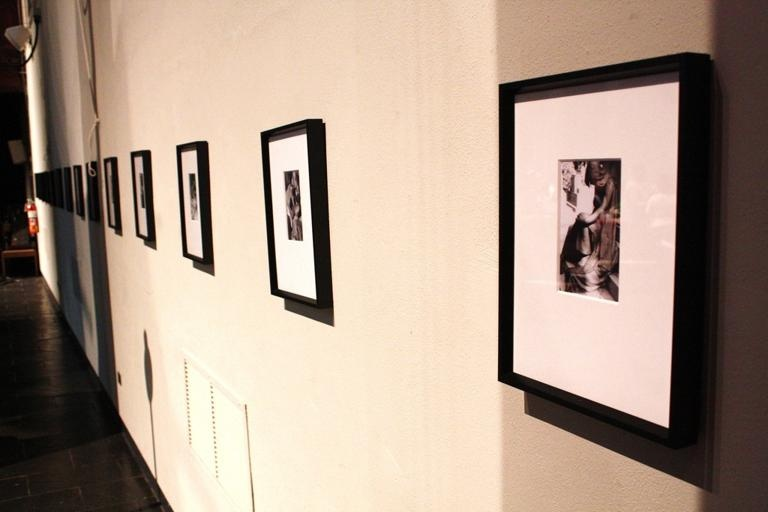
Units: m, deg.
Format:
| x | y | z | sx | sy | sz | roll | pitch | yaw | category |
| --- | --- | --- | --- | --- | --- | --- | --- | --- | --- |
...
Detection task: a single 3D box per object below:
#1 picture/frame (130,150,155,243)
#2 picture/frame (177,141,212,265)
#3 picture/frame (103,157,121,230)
| x | y | z | sx | sy | sz | roll | pitch | yaw | category |
| --- | --- | --- | --- | --- | --- | --- | --- | --- | --- |
| -1.259 | -0.324 | 3.262 | 0.038 | 0.441 | 0.498 | -2 | 0 | -25 | picture/frame |
| -0.753 | -0.222 | 2.483 | 0.041 | 0.552 | 0.447 | -7 | 11 | -28 | picture/frame |
| -1.777 | -0.441 | 4.020 | 0.035 | 0.423 | 0.412 | -4 | 5 | -17 | picture/frame |
